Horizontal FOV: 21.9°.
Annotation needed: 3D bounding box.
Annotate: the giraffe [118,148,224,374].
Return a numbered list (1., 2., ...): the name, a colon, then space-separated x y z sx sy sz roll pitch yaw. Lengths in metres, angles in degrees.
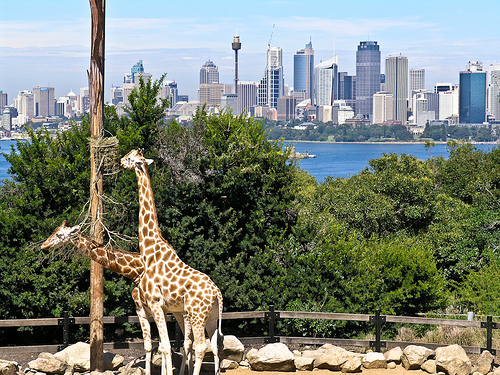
1. giraffe: -3.150 3.107 53.469 3.415 9.391 1.289 -2 5 0
